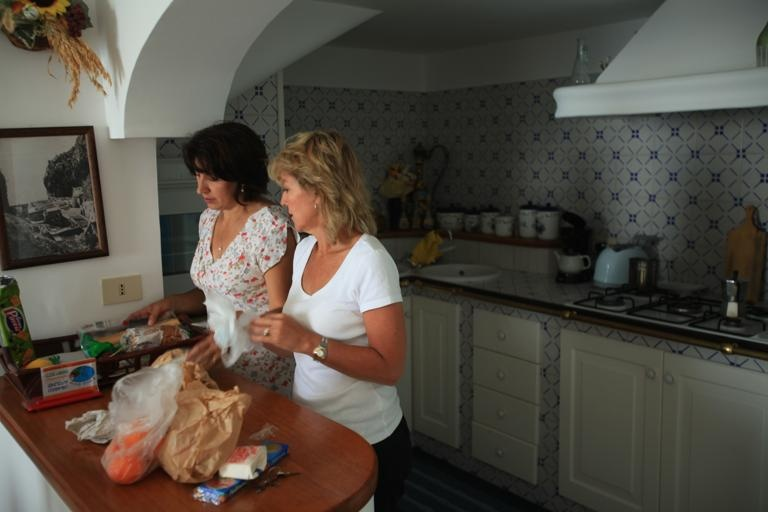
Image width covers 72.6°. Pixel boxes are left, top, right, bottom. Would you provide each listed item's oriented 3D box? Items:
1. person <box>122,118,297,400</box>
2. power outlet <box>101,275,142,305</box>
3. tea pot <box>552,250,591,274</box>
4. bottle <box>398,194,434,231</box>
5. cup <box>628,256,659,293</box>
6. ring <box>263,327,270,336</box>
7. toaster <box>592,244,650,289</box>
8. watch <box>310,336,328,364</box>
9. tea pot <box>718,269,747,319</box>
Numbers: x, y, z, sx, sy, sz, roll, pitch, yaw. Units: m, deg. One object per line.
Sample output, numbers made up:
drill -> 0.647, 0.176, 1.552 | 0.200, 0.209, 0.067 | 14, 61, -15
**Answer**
person -> -0.723, 0.065, 2.341 | 0.639, 1.234, 0.673 | -9, 16, -41
power outlet -> -1.236, 0.157, 2.437 | 0.136, 0.104, 0.018 | -2, 2, -34
tea pot -> 1.209, 0.032, 3.401 | 0.182, 0.105, 0.123 | 10, 15, 38
bottle -> 0.267, -0.361, 4.346 | 0.285, 0.350, 0.284 | 0, 1, -14
cup -> 1.456, 0.100, 2.971 | 0.173, 0.195, 0.172 | -1, 7, 0
ring -> -0.398, 0.257, 1.759 | 0.019, 0.026, 0.010 | 3, 4, 15
toaster -> 1.361, 0.058, 3.079 | 0.279, 0.211, 0.202 | 1, 2, -15
watch -> -0.212, 0.317, 1.746 | 0.050, 0.086, 0.078 | 14, -3, -2
tea pot -> 1.706, 0.215, 2.548 | 0.105, 0.188, 0.111 | -4, 8, 1
